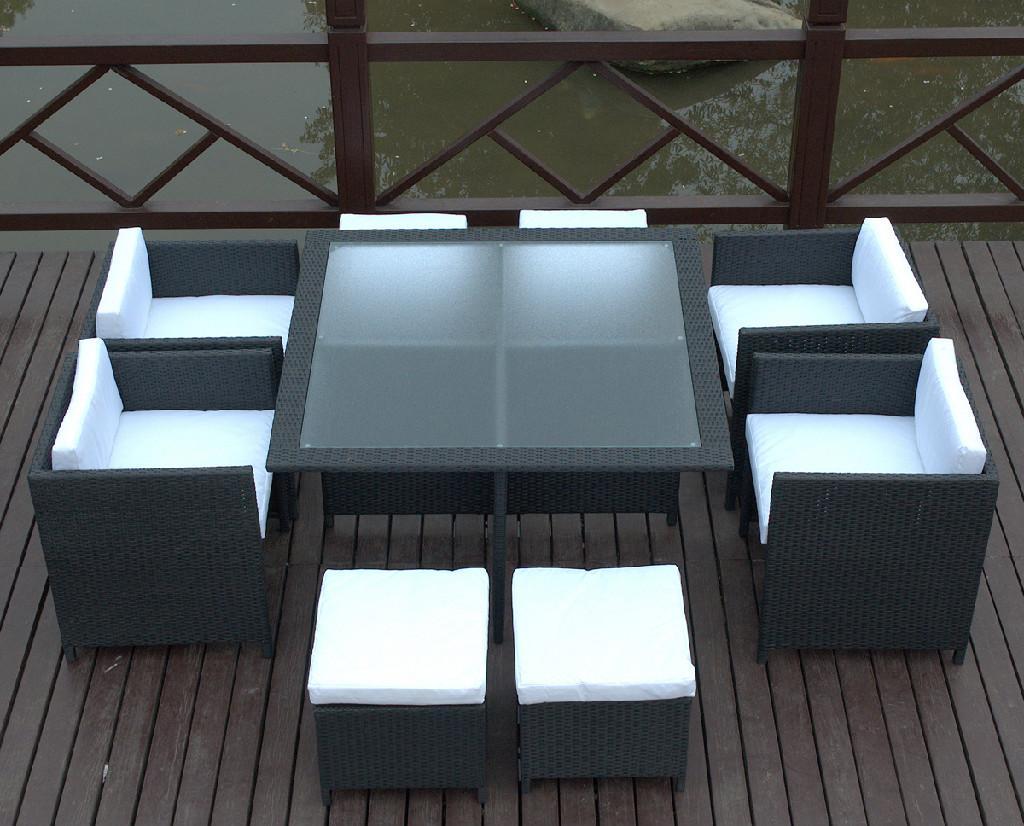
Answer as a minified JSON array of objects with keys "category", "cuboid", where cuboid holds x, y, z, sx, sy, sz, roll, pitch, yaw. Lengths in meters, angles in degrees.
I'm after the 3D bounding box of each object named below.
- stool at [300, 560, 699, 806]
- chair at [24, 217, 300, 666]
[{"category":"stool","cuboid":[-0.064,0.679,2.914,1.351,0.620,0.612,-1,-40,0]},{"category":"chair","cuboid":[-1.269,0.152,3.511,0.852,1.646,0.960,0,-41,-6]}]
